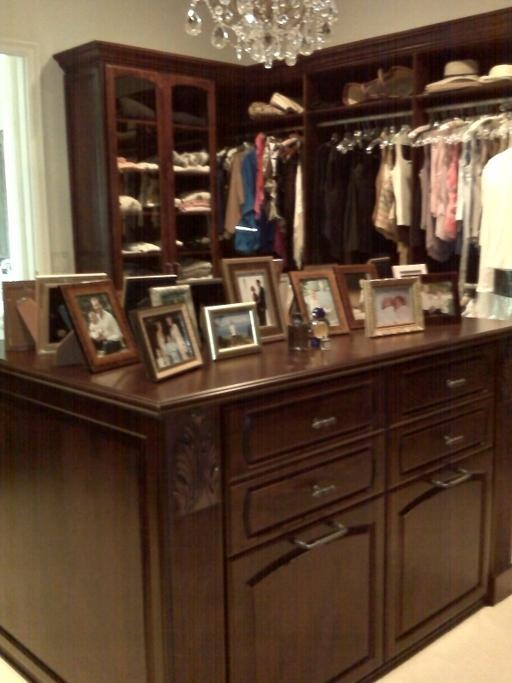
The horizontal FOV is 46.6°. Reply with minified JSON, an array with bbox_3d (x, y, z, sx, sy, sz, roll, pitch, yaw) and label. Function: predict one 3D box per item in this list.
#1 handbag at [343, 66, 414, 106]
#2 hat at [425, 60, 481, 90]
[{"bbox_3d":[0.590,-1.216,2.841,0.141,0.154,0.428,-16,19,-28],"label":"handbag"},{"bbox_3d":[0.854,-1.149,2.578,0.283,0.123,0.150,7,22,39],"label":"hat"}]
